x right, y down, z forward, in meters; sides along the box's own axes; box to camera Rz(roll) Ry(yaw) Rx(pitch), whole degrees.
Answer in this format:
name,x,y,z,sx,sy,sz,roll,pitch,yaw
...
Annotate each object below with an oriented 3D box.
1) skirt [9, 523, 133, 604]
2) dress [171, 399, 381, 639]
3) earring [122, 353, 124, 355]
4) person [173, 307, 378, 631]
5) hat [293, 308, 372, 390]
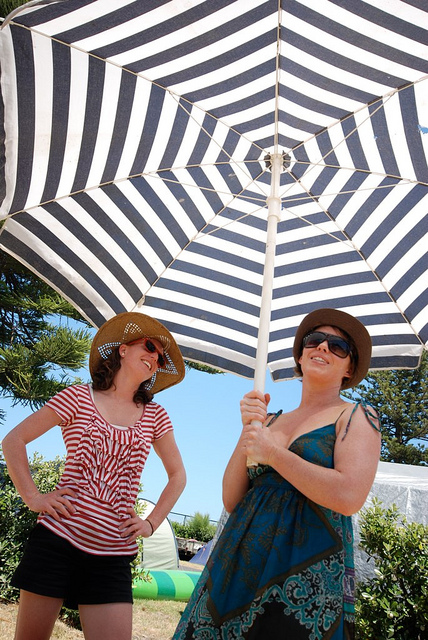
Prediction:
name,x,y,z,sx,sy,sz,roll,pitch,yaw
skirt,-0.525,0.957,2.135,0.484,0.311,0.255,18,-14,-18
dress,0.200,0.766,1.730,0.531,0.623,0.299,-7,-35,40
earring,-0.459,0.171,2.690,0.008,0.008,0.008,31,-6,-6
person,0.318,0.449,1.974,0.502,1.396,0.621,15,-26,5
hat,0.547,0.118,2.500,0.374,0.368,0.329,9,-26,15
